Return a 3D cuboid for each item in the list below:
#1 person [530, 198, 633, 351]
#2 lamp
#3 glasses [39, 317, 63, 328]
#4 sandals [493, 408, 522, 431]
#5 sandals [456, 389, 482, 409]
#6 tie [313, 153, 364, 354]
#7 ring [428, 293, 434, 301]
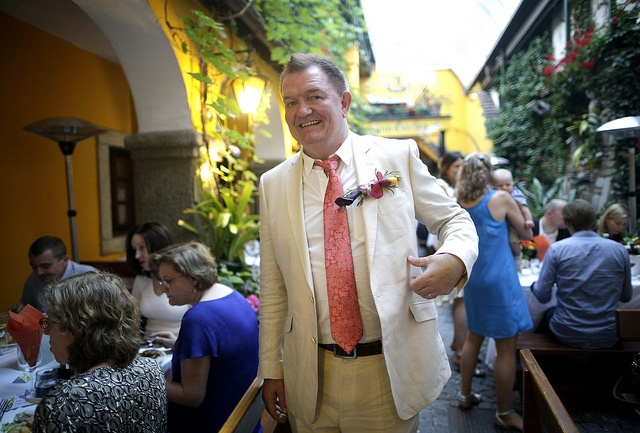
[{"bbox_3d":[2.469,0.547,4.324,0.752,1.341,0.291,-1,7,32],"label":"person"},{"bbox_3d":[-1.010,-1.896,6.452,0.496,1.264,0.455,1,16,-4],"label":"lamp"},{"bbox_3d":[-1.756,0.686,2.990,0.102,0.036,0.109,-1,-7,41],"label":"glasses"},{"bbox_3d":[1.700,1.846,4.160,0.315,0.138,0.115,-2,-1,9],"label":"sandals"},{"bbox_3d":[1.450,1.790,4.478,0.107,0.133,0.286,-1,0,36],"label":"sandals"},{"bbox_3d":[0.128,0.220,2.838,0.195,1.183,0.166,-6,-4,3],"label":"tie"},{"bbox_3d":[0.649,0.469,2.675,0.033,0.026,0.035,1,-3,0],"label":"ring"}]
